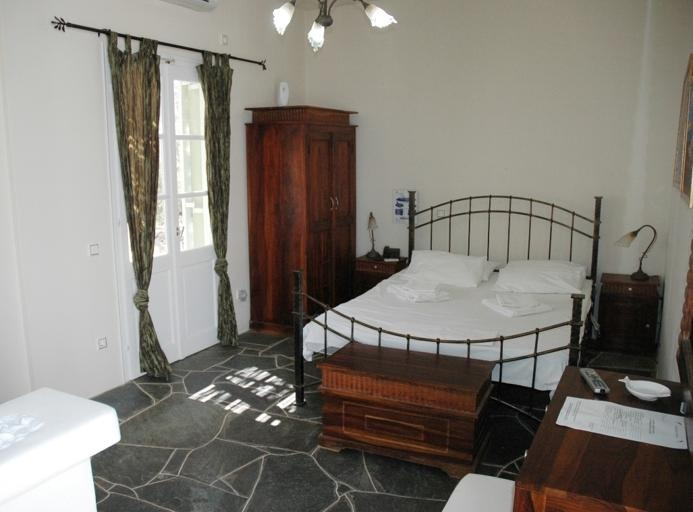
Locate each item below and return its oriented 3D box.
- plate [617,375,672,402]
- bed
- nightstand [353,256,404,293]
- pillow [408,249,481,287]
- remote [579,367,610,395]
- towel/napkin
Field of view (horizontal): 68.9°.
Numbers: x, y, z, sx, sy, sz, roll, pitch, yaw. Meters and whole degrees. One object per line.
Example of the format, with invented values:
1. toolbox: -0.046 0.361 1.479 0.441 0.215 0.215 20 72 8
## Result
1. plate: 1.425 0.630 2.416 0.100 0.035 0.121 -18 17 -37
2. bed: 1.170 0.337 4.662 1.854 1.607 2.446 5 13 30
3. nightstand: 0.354 0.271 6.059 0.491 0.529 0.376 6 13 15
4. pillow: 1.061 0.122 5.312 0.438 0.143 0.445 6 16 29
5. remote: 1.210 0.613 2.487 0.058 0.127 0.120 -5 19 -4
6. towel/napkin: 1.044 0.374 4.547 1.454 0.261 0.428 -3 11 34
